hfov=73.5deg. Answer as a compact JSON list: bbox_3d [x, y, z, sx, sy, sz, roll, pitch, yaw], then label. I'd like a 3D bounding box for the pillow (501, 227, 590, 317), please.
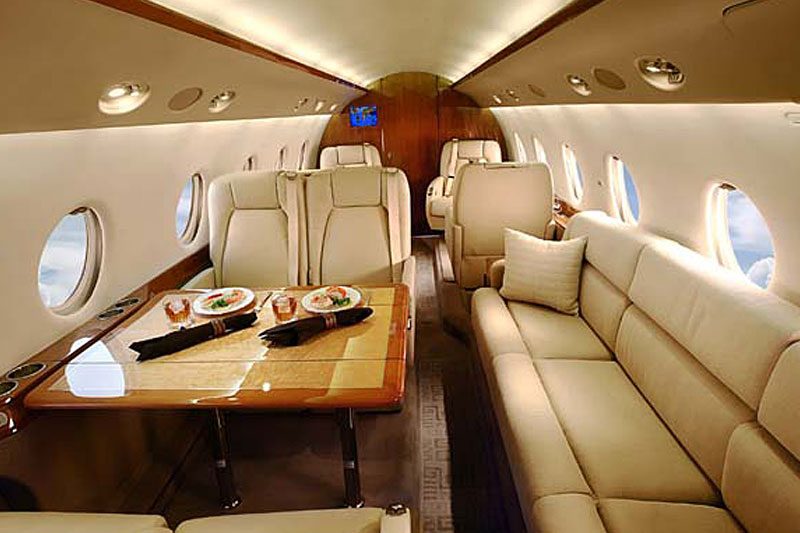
[{"bbox_3d":[1.181,0.075,4.315,0.649,0.611,0.244,9,8,24],"label":"pillow"}]

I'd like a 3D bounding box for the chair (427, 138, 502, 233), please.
[{"bbox_3d":[0.755,-1.201,7.841,1.136,1.531,1.370,3,21,8],"label":"chair"}]

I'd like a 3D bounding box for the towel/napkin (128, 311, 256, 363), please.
[{"bbox_3d":[-1.138,0.350,3.157,0.780,0.232,0.175,-13,42,-37],"label":"towel/napkin"}]

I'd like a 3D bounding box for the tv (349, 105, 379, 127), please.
[{"bbox_3d":[-0.520,-2.248,8.026,0.510,0.342,0.282,0,11,2],"label":"tv"}]

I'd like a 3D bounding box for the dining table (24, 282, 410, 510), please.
[{"bbox_3d":[-0.843,0.554,3.352,1.407,0.982,1.538,0,21,2],"label":"dining table"}]

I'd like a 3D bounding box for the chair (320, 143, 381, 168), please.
[{"bbox_3d":[-0.726,-1.688,8.055,0.899,0.331,0.287,-2,10,-2],"label":"chair"}]

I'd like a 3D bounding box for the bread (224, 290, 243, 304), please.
[{"bbox_3d":[-1.051,0.194,3.414,0.063,0.030,0.084,-3,14,6],"label":"bread"}]
